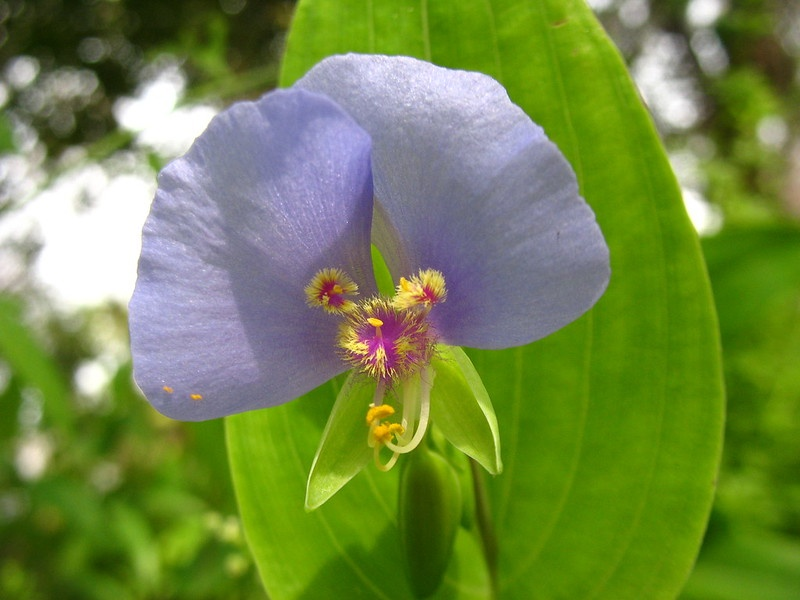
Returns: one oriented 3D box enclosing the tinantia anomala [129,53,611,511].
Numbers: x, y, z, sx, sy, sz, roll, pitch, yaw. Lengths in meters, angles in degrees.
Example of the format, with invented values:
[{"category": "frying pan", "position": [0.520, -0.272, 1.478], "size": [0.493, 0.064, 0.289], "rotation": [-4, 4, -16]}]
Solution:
[{"category": "tinantia anomala", "position": [-0.027, -0.034, 0.846], "size": [0.450, 0.139, 0.484], "rotation": [-11, 57, -11]}]
